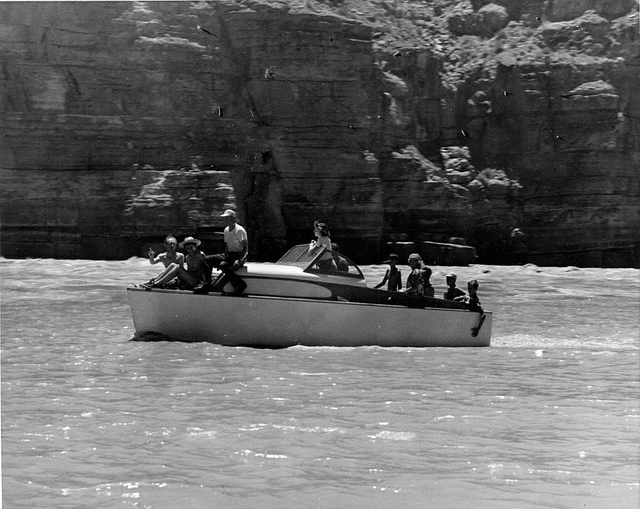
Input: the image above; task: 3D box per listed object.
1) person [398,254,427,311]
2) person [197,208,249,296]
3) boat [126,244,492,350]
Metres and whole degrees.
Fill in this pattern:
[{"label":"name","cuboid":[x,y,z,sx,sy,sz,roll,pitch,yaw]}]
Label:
[{"label":"person","cuboid":[2.555,1.073,42.671,0.965,2.182,0.836,0,2,23]},{"label":"person","cuboid":[-2.748,-0.098,42.374,1.193,2.680,1.158,0,0,1]},{"label":"boat","cuboid":[-0.565,1.250,43.485,12.174,3.052,3.408,3,2,-33]}]
